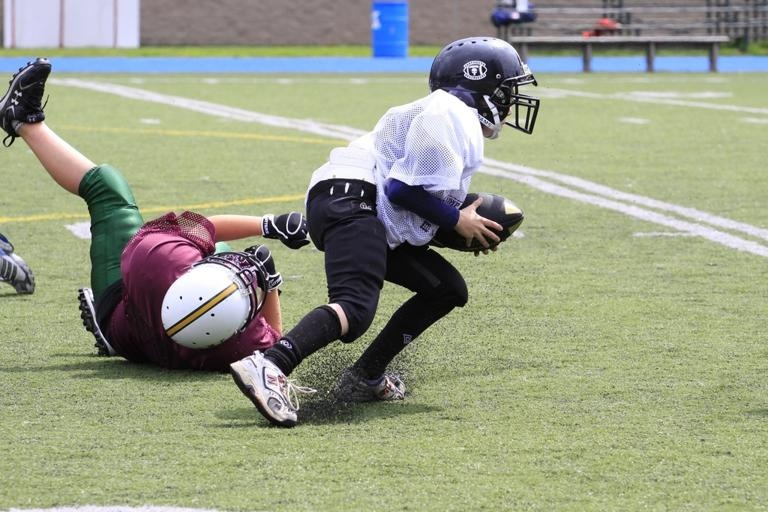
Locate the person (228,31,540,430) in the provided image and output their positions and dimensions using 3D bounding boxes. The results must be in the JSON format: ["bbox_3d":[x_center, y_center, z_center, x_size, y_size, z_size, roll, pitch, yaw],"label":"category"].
[{"bbox_3d":[-0.024,-0.018,4.417,1.165,1.462,0.555,0,9,-8],"label":"person"}]

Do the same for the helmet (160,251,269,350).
[{"bbox_3d":[-0.732,0.175,4.619,0.527,0.350,0.396,-30,3,9],"label":"helmet"}]

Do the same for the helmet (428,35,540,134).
[{"bbox_3d":[0.475,-0.825,4.683,0.608,0.395,0.409,4,8,-9],"label":"helmet"}]

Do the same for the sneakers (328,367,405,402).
[{"bbox_3d":[-0.071,0.607,4.612,0.318,0.115,0.154,-1,-1,-4],"label":"sneakers"}]

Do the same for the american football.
[{"bbox_3d":[0.479,-0.164,4.599,0.441,0.219,0.244,-6,0,3],"label":"american football"}]

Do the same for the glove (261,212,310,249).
[{"bbox_3d":[-0.491,-0.124,4.935,0.248,0.168,0.110,10,39,17],"label":"glove"}]
